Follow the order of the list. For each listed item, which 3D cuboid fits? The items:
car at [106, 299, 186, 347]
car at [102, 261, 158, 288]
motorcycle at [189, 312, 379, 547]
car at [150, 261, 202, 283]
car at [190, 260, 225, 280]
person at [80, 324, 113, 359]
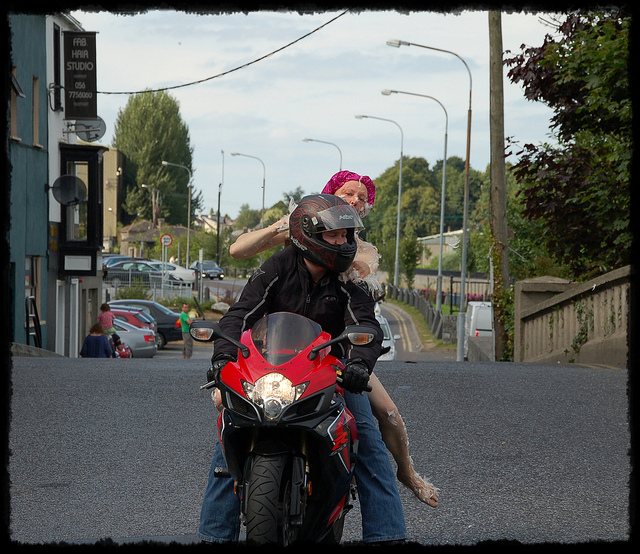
[{"bbox_3d":[-5.770,1.352,31.812,3.326,1.346,1.434,5,4,-8],"label":"car"},{"bbox_3d":[-8.975,-0.218,49.753,2.644,0.996,1.339,-3,39,-3],"label":"car"},{"bbox_3d":[-0.245,1.131,7.726,1.158,1.190,0.629,2,-1,-7],"label":"motorcycle"},{"bbox_3d":[-6.854,-0.170,49.733,2.208,0.845,1.086,4,2,0],"label":"car"},{"bbox_3d":[-6.628,-0.444,64.809,1.095,0.994,2.721,1,-6,-11],"label":"car"},{"bbox_3d":[-4.867,1.389,23.005,0.682,0.592,0.410,3,-2,-42],"label":"person"}]
